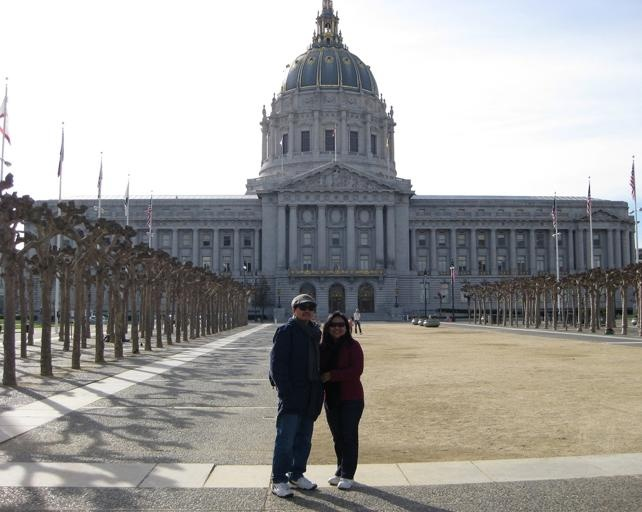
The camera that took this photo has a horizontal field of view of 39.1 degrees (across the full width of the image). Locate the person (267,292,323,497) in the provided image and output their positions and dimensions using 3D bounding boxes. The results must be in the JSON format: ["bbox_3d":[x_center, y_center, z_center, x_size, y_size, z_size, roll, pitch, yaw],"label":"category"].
[{"bbox_3d":[-0.425,2.529,16.649,0.925,3.643,0.701,3,-4,-39],"label":"person"}]

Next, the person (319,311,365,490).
[{"bbox_3d":[0.379,2.675,16.987,0.799,3.235,0.670,1,-3,2],"label":"person"}]
